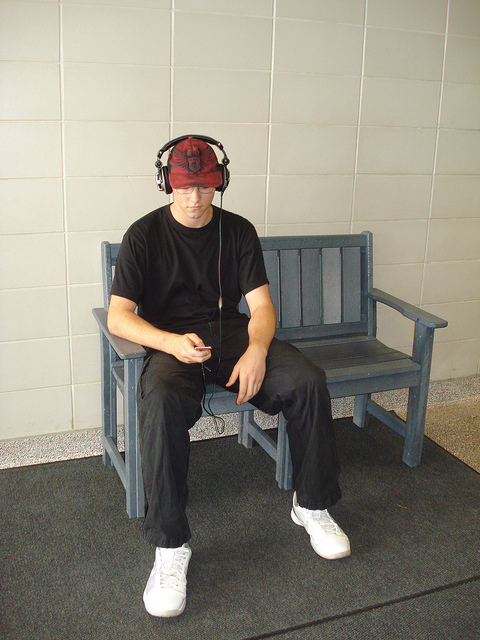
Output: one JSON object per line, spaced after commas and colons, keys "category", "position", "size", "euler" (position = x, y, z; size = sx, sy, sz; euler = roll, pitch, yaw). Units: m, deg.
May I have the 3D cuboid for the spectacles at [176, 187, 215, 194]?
{"category": "spectacles", "position": [-0.129, -0.377, 1.579], "size": [0.113, 0.019, 0.056], "euler": [-4, 14, -19]}

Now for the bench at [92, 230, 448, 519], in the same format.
{"category": "bench", "position": [0.158, 0.135, 2.327], "size": [0.923, 0.842, 0.420], "euler": [-4, -10, -3]}

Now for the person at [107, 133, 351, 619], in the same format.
{"category": "person", "position": [-0.056, 0.056, 1.564], "size": [0.595, 1.156, 0.645], "euler": [-5, 13, -24]}
